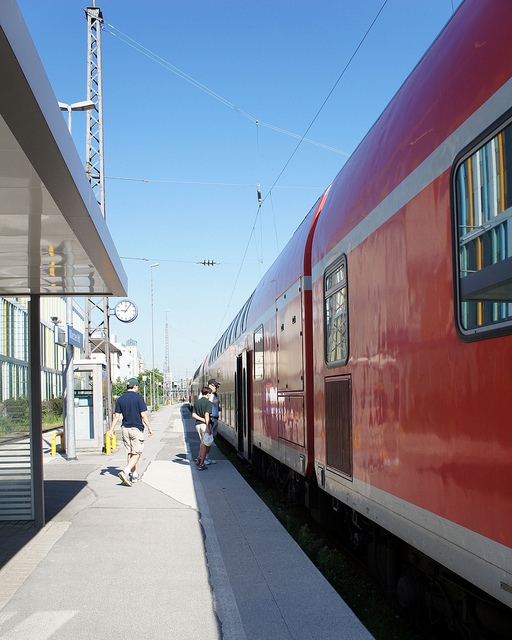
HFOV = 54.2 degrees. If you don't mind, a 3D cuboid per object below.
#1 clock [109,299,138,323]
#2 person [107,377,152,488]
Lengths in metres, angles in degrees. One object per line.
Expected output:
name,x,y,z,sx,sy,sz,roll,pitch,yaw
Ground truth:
clock,-7.028,-0.485,27.055,0.964,1.490,2.022,-2,-6,-6
person,-2.576,2.241,10.255,0.742,2.080,3.035,0,-6,-17
